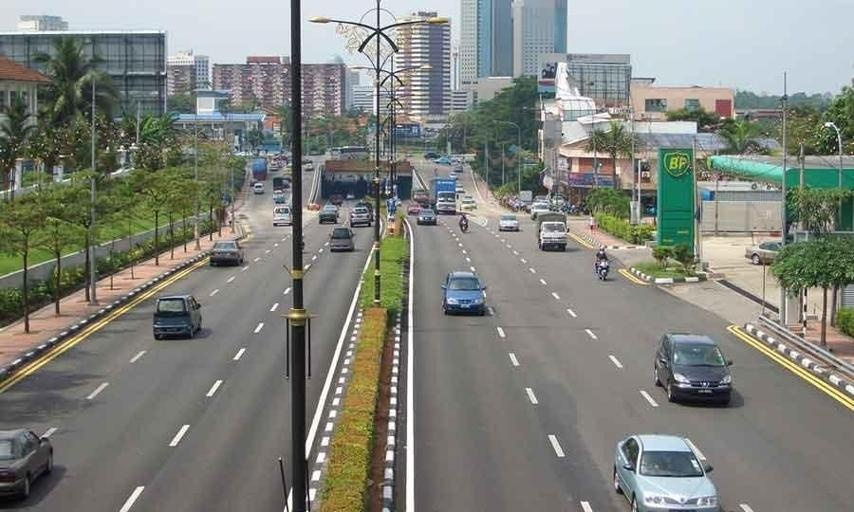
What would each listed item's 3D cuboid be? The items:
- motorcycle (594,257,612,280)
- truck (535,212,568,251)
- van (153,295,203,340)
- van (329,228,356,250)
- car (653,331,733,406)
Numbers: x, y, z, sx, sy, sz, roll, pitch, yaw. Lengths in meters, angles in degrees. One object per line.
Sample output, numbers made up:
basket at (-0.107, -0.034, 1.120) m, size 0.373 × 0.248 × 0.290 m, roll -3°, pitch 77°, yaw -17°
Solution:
motorcycle at (13.146, 1.039, 69.922) m, size 0.846 × 1.664 × 1.160 m, roll 0°, pitch 11°, yaw 3°
truck at (11.515, -1.992, 85.513) m, size 1.976 × 2.484 × 4.265 m, roll 0°, pitch 2°, yaw 2°
van at (-14.402, 3.486, 53.937) m, size 2.083 × 2.205 × 3.633 m, roll 0°, pitch 3°, yaw -8°
van at (-7.578, -1.442, 83.584) m, size 1.300 × 1.172 × 2.618 m, roll 0°, pitch 16°, yaw -5°
car at (12.759, 5.457, 45.253) m, size 2.471 × 2.835 × 5.511 m, roll 0°, pitch 2°, yaw 6°
